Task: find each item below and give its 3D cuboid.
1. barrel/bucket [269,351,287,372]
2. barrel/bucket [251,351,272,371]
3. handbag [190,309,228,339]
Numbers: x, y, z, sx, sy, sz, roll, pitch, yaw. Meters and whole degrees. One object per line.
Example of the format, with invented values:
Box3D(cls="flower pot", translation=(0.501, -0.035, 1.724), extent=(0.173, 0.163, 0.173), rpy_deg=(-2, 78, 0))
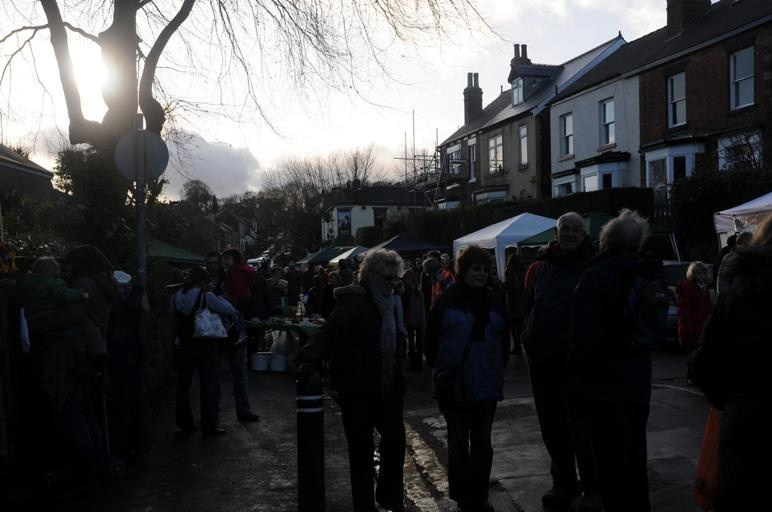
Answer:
Box3D(cls="barrel/bucket", translation=(-2.059, 2.045, 14.222), extent=(0.296, 0.316, 0.312), rpy_deg=(0, -4, 0))
Box3D(cls="barrel/bucket", translation=(-2.423, 2.035, 14.312), extent=(0.313, 0.263, 0.335), rpy_deg=(0, -4, 0))
Box3D(cls="handbag", translation=(-2.320, 0.884, 9.628), extent=(0.339, 0.361, 0.140), rpy_deg=(4, -5, -44))
